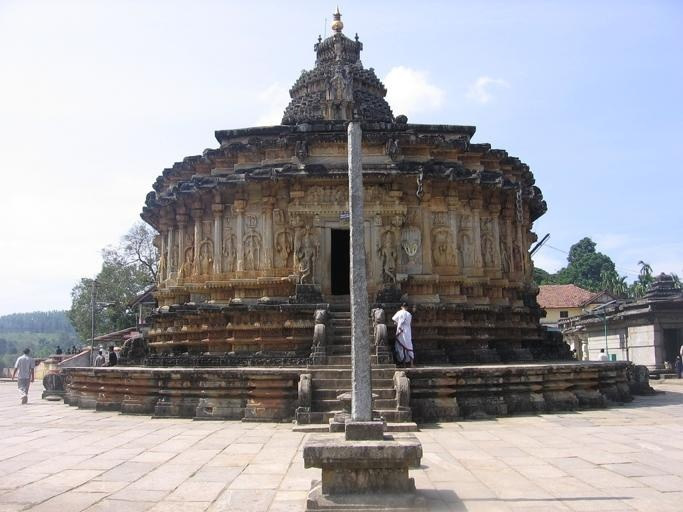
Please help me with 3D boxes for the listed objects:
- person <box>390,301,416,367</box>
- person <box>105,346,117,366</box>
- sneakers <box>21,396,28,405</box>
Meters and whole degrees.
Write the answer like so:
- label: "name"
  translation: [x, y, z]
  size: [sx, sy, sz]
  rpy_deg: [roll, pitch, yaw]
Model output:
- label: "person"
  translation: [1.508, 1.913, 16.384]
  size: [0.426, 1.550, 0.880]
  rpy_deg: [-3, -10, 5]
- label: "person"
  translation: [-7.896, 3.429, 22.990]
  size: [0.323, 0.724, 1.728]
  rpy_deg: [2, -10, -19]
- label: "sneakers"
  translation: [-9.134, 4.163, 19.221]
  size: [0.100, 0.302, 0.206]
  rpy_deg: [1, 1, -4]
